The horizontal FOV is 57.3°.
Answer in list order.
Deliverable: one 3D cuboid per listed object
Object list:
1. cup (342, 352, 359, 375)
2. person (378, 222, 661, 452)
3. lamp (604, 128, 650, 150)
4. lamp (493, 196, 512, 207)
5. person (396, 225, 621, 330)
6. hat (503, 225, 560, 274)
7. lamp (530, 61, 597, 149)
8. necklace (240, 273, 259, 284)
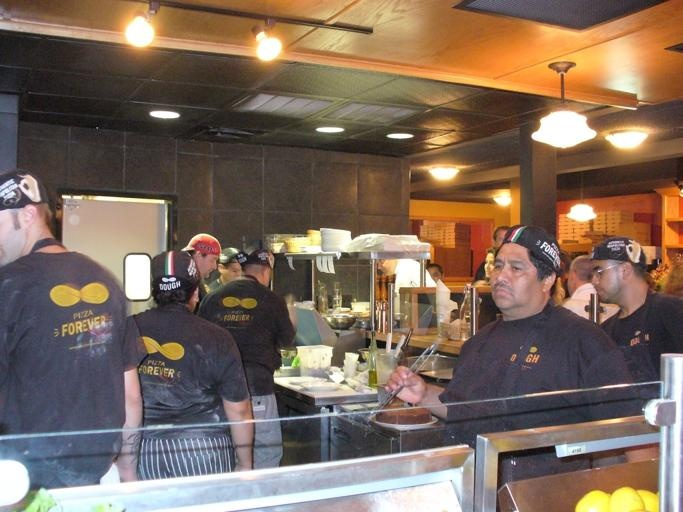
[{"bbox_3d":[0.063,0.690,3.992,0.099,0.142,0.122,1,8,0],"label":"cup"},{"bbox_3d":[0.645,0.281,2.284,0.473,0.743,0.906,11,-15,-31],"label":"person"},{"bbox_3d":[2.728,-1.108,5.849,0.326,0.100,0.310,-1,2,-14],"label":"lamp"},{"bbox_3d":[2.953,-1.003,11.390,0.403,0.132,0.385,0,1,-28],"label":"lamp"},{"bbox_3d":[1.203,0.134,4.607,1.253,0.506,0.804,1,-5,-15],"label":"person"},{"bbox_3d":[0.721,-0.034,2.301,0.209,0.103,0.151,31,1,-12],"label":"hat"},{"bbox_3d":[1.719,-1.148,4.817,0.413,0.608,1.095,4,8,17],"label":"lamp"},{"bbox_3d":[-0.565,0.144,3.800,0.069,0.016,0.067,16,-2,-38],"label":"necklace"}]
